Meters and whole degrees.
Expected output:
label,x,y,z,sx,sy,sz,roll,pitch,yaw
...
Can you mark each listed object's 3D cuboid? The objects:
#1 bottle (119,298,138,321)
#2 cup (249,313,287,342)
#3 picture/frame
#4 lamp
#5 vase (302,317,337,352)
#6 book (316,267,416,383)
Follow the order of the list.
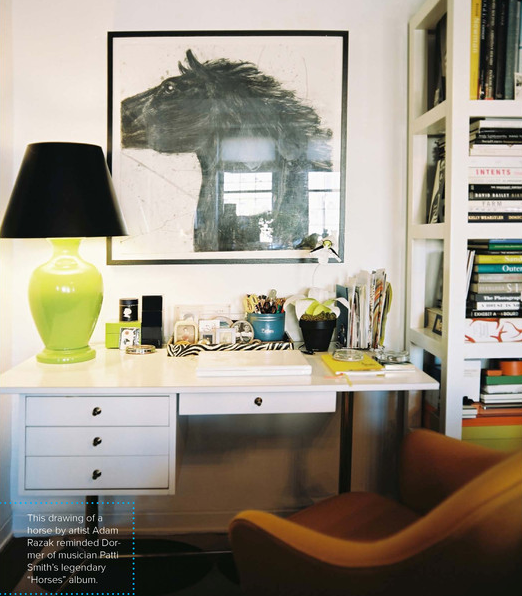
label,x,y,z,sx,sy,sz,roll,pitch,yaw
bottle,-0.488,0.042,2.176,0.073,0.081,0.073,1,6,-5
cup,0.021,0.108,2.165,0.139,0.102,0.121,1,9,1
picture/frame,-0.159,-0.614,2.255,0.900,0.841,0.038,0,6,3
lamp,-0.650,-0.147,1.960,0.404,0.741,0.213,-3,9,-20
vase,0.211,0.128,2.149,0.131,0.113,0.125,0,0,-19
book,0.322,0.086,2.037,0.323,0.336,0.342,1,-1,-4
